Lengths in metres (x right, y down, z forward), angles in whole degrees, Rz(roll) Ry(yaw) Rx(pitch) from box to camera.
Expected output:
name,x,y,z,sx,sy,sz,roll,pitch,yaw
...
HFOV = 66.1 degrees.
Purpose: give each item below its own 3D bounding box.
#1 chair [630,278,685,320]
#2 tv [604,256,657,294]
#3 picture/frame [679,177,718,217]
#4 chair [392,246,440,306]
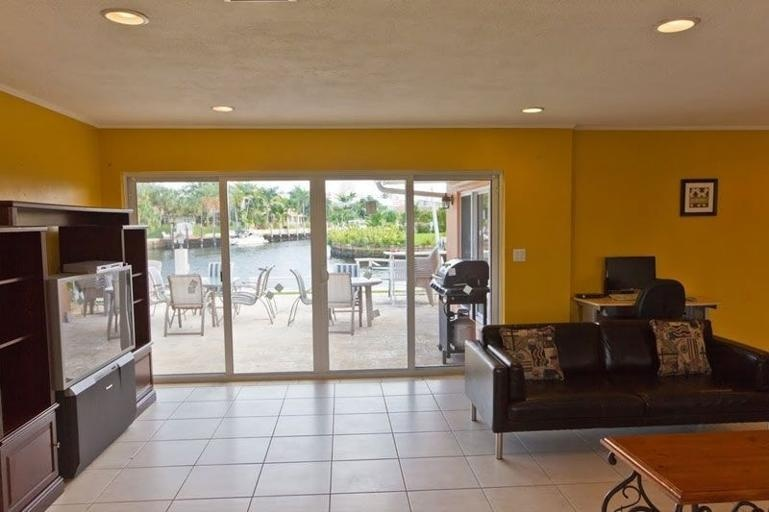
name,x,y,z,sx,sy,sz,roll,pitch,yaw
chair,3.017,0.471,6.481,0.424,0.495,0.502,0,5,9
tv,2.924,0.207,7.168,0.844,0.503,0.420,0,-1,0
picture/frame,3.818,-0.749,7.228,0.571,0.509,0.041,0,2,-1
chair,0.474,0.228,7.236,0.755,0.744,0.678,1,1,-5
